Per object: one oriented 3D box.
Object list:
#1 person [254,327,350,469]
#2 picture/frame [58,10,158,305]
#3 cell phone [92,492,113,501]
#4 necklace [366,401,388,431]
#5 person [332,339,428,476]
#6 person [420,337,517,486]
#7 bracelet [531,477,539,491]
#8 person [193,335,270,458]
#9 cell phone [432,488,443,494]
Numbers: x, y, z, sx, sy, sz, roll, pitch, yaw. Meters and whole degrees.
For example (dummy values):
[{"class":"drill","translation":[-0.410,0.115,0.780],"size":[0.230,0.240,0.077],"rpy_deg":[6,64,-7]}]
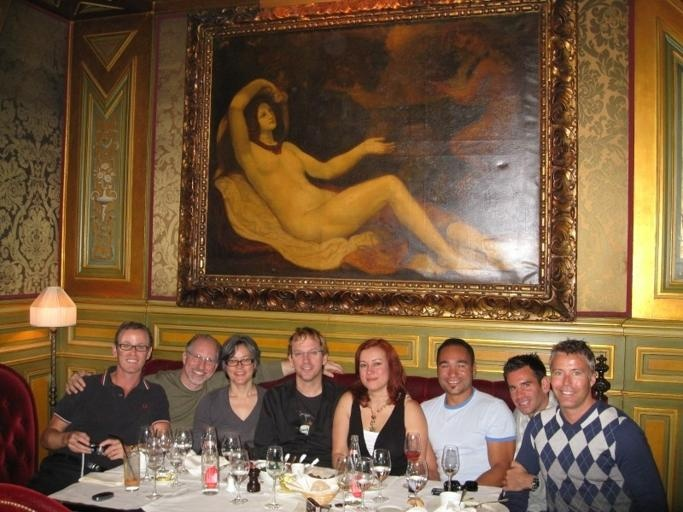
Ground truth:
[{"class":"person","translation":[-0.233,0.984,4.281],"size":[0.634,1.020,0.531],"rpy_deg":[1,5,-5]},{"class":"picture/frame","translation":[-2.223,-0.930,6.082],"size":[1.009,2.611,0.349],"rpy_deg":[-2,-8,13]},{"class":"cell phone","translation":[-1.256,1.266,3.391],"size":[0.088,0.036,0.110],"rpy_deg":[-8,-13,39]},{"class":"necklace","translation":[0.225,1.016,4.069],"size":[0.124,0.157,0.017],"rpy_deg":[21,-16,13]},{"class":"person","translation":[0.224,1.003,4.044],"size":[0.590,0.997,0.502],"rpy_deg":[-1,9,9]},{"class":"person","translation":[0.753,1.045,4.212],"size":[0.623,0.995,0.648],"rpy_deg":[-2,4,34]},{"class":"bracelet","translation":[1.084,1.288,3.636],"size":[0.049,0.087,0.077],"rpy_deg":[5,-12,16]},{"class":"person","translation":[-0.742,0.935,4.217],"size":[0.574,0.876,0.279],"rpy_deg":[4,-11,-9]},{"class":"cell phone","translation":[0.521,1.286,3.526],"size":[0.044,0.018,0.064],"rpy_deg":[1,2,11]}]
